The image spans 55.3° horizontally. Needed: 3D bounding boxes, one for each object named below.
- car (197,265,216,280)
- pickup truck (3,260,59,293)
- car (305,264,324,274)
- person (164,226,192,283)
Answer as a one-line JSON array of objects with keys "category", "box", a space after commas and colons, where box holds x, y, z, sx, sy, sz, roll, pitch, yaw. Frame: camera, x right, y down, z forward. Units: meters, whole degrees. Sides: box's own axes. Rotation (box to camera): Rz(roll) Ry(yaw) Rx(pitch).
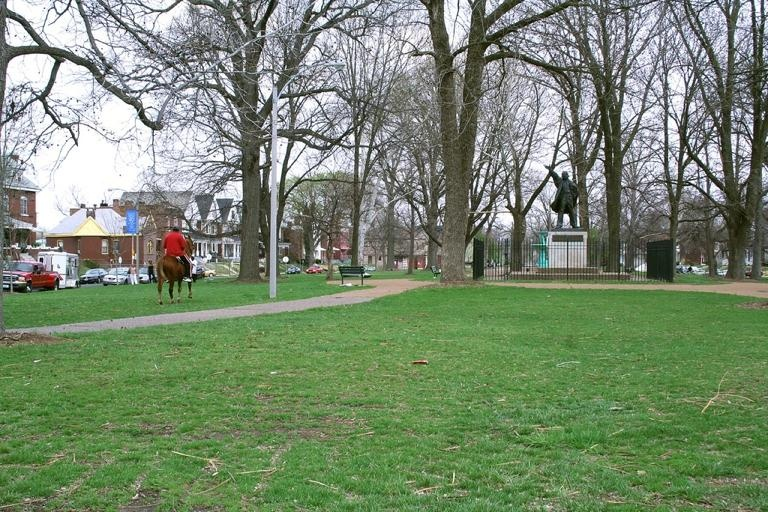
[{"category": "car", "box": [-18.395, 1.848, 76.317, 2.887, 1.005, 1.353, 4, 5, 33]}, {"category": "pickup truck", "box": [-22.667, 1.438, 46.834, 1.735, 1.138, 2.883, -1, -6, 2]}, {"category": "car", "box": [-8.798, 1.738, 91.535, 0.963, 0.836, 1.708, -3, -6, 27]}, {"category": "person", "box": [-6.774, 0.008, 24.011, 0.708, 1.856, 1.360, -1, 5, -12]}]
